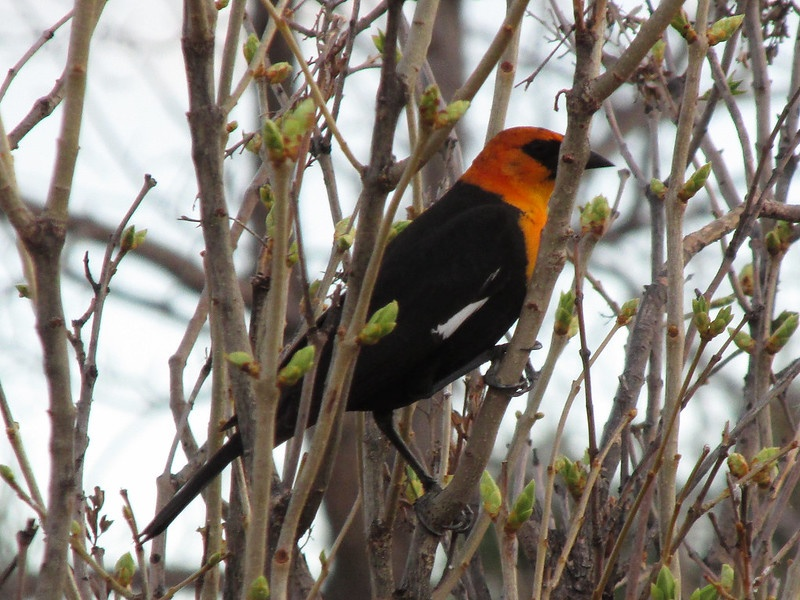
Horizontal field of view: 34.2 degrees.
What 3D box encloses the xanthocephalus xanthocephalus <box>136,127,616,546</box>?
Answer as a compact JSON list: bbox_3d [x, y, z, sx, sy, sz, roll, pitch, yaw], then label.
[{"bbox_3d":[-0.336,0.099,6.023,2.573,2.150,0.933,-10,-2,-10],"label":"xanthocephalus xanthocephalus"}]
